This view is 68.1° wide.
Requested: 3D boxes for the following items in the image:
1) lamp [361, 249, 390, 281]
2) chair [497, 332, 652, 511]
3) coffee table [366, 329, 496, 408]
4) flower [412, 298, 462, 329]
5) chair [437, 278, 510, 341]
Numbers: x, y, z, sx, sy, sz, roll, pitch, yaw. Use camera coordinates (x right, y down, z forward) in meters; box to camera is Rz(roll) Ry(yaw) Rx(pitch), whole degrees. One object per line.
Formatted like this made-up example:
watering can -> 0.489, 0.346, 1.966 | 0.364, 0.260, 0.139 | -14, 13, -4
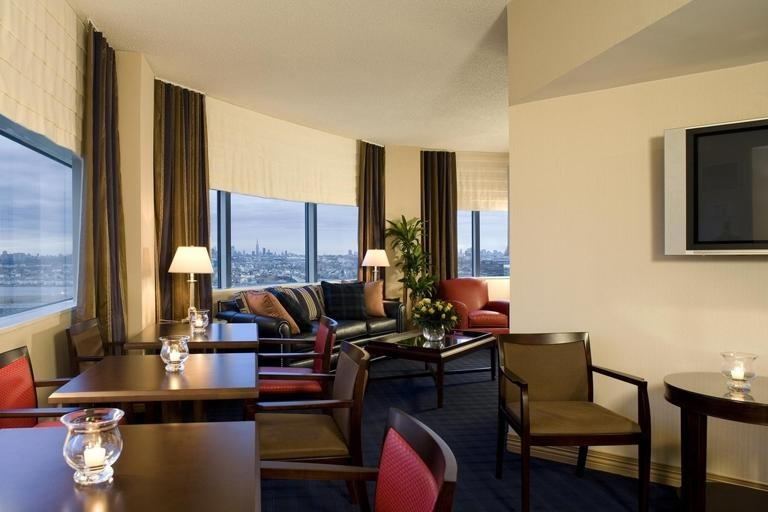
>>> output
lamp -> -0.142, 0.123, 8.466 | 0.349, 0.482, 0.645 | -3, 1, -3
chair -> 1.324, 1.149, 4.093 | 0.994, 1.132, 0.659 | -2, 1, 3
coffee table -> 0.403, 1.311, 6.063 | 0.770, 0.426, 1.022 | 0, 2, 36
flower -> 0.546, 0.616, 6.178 | 0.373, 0.268, 0.382 | 2, 1, -11
chair -> 1.393, 0.692, 8.306 | 0.797, 0.839, 0.845 | 2, -10, -12
